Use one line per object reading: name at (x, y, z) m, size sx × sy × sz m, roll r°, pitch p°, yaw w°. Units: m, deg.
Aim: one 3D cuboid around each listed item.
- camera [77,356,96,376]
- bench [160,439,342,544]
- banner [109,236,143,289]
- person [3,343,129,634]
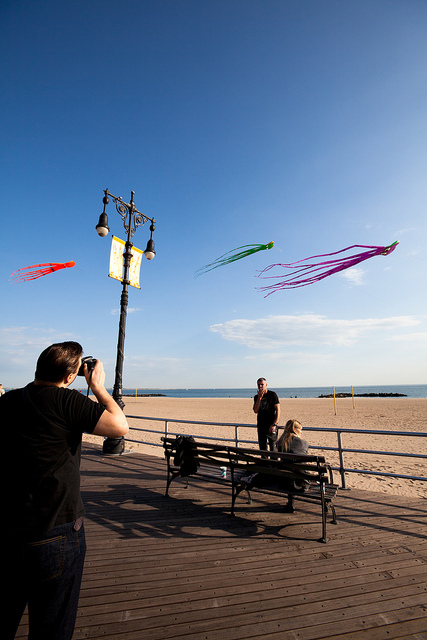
camera at (-0.642, 0.232, 2.122) m, size 0.065 × 0.094 × 0.071 m, roll -7°, pitch -11°, yaw 30°
bench at (0.310, 1.695, 4.610) m, size 2.000 × 0.720 × 0.652 m, roll -3°, pitch -8°, yaw 33°
banner at (-1.813, -1.187, 8.749) m, size 0.355 × 0.936 × 1.183 m, roll -3°, pitch -9°, yaw 10°
person at (-0.667, 0.688, 1.852) m, size 0.483 × 1.188 × 0.276 m, roll 4°, pitch -10°, yaw -29°
